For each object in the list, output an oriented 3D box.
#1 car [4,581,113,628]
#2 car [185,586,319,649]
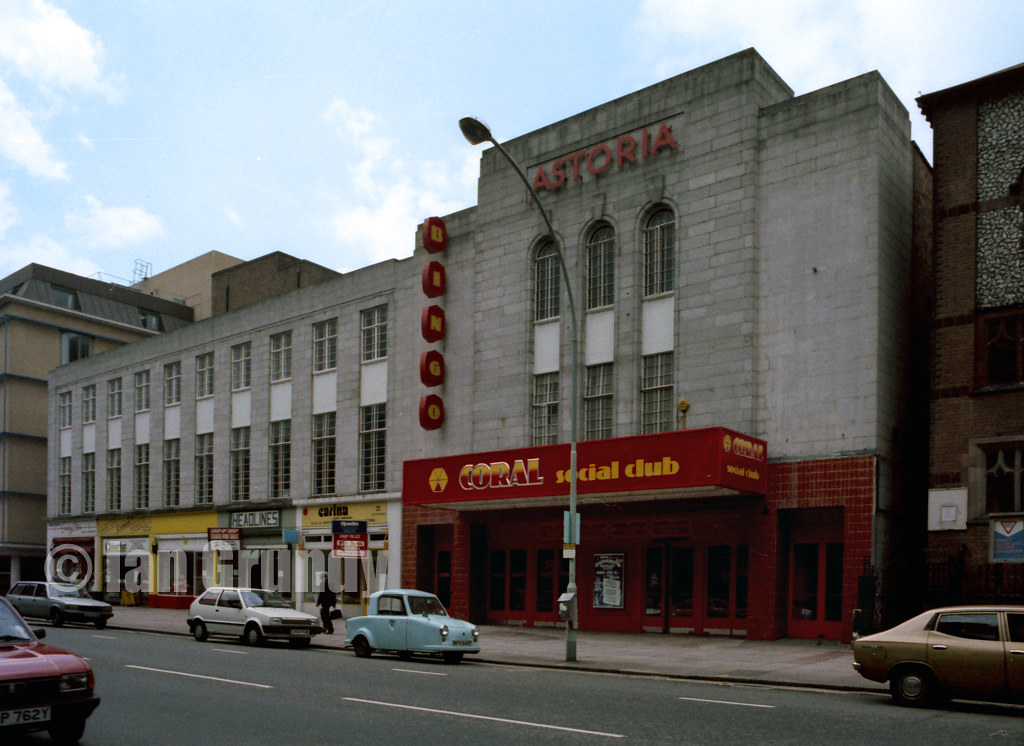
[{"bbox_3d":[-17.149,8.841,52.268,4.114,1.496,1.945,-7,-12,38],"label":"car"},{"bbox_3d":[-8.304,7.859,43.811,3.681,1.392,1.920,-11,-18,41],"label":"car"}]
